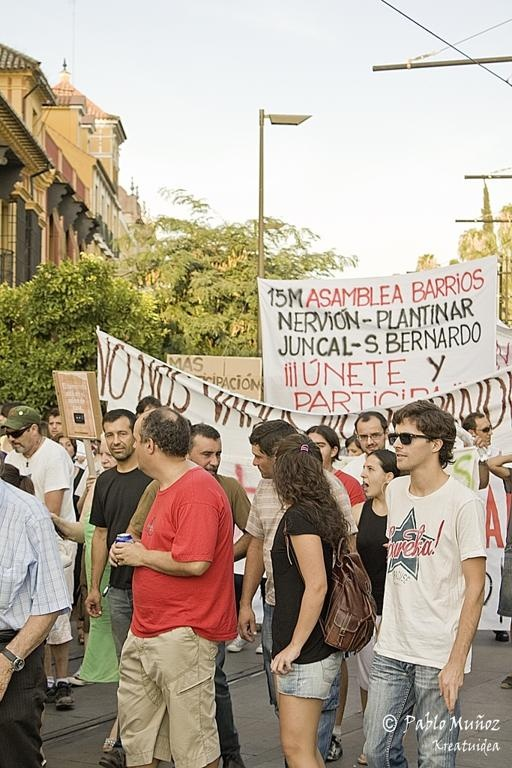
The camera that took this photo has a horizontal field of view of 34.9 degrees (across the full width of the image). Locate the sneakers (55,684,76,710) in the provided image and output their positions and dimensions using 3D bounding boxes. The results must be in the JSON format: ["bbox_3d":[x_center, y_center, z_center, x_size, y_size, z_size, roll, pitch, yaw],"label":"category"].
[{"bbox_3d":[-1.401,2.256,5.900,0.084,0.100,0.220,1,-8,-9],"label":"sneakers"}]

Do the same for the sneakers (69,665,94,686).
[{"bbox_3d":[-1.429,2.334,6.572,0.150,0.082,0.216,0,-11,10],"label":"sneakers"}]

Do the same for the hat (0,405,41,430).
[{"bbox_3d":[-1.679,0.242,5.877,0.155,0.124,0.248,3,2,30],"label":"hat"}]

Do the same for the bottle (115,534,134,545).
[{"bbox_3d":[-0.596,0.681,3.616,0.068,0.061,0.067,0,-11,16],"label":"bottle"}]
